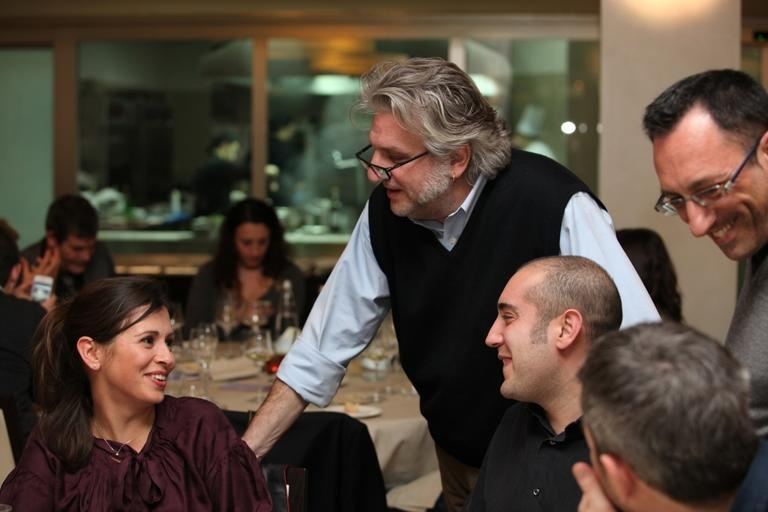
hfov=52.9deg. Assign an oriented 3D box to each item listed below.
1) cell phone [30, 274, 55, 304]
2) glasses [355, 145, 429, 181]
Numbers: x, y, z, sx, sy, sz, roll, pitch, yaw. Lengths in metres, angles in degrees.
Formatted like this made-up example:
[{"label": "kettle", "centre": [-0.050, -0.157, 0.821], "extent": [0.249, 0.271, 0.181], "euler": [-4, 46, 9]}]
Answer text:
[{"label": "cell phone", "centre": [-1.609, 0.159, 3.638], "extent": [0.101, 0.185, 0.019], "euler": [12, -18, -21]}, {"label": "glasses", "centre": [0.028, -0.299, 2.556], "extent": [0.243, 0.105, 0.057], "euler": [5, 7, 24]}]
